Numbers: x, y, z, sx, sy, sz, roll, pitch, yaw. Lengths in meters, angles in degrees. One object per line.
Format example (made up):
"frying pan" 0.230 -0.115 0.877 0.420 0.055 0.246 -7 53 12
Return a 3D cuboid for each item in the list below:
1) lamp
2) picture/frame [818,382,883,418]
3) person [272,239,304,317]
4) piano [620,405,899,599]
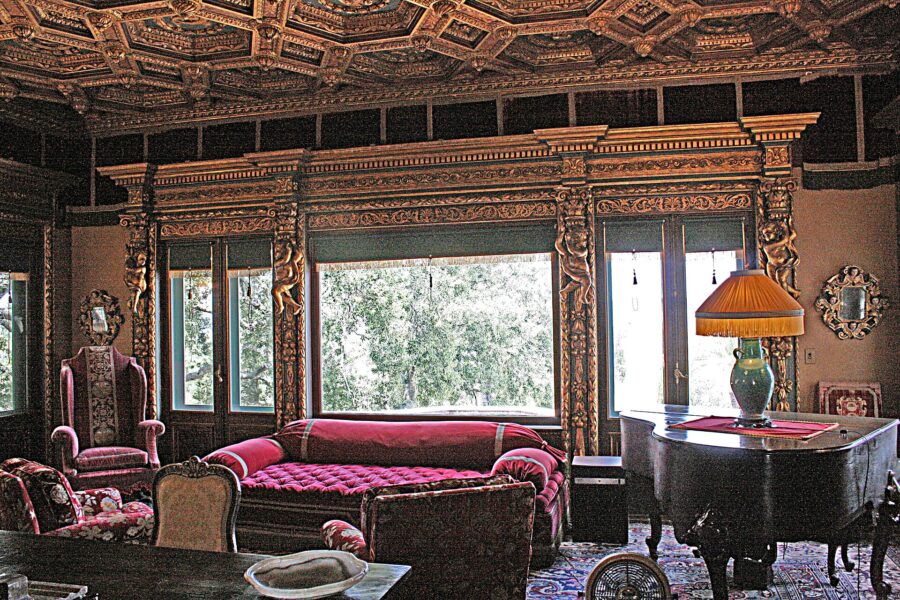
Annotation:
"lamp" 2.527 0.391 8.131 0.851 1.329 0.334 -1 -5 13
"picture/frame" 3.997 0.987 9.559 0.364 0.320 0.045 -3 -4 7
"person" -1.736 -0.237 10.493 0.302 0.779 0.126 0 -5 -6
"piano" 2.597 1.678 7.943 2.186 1.478 1.311 -1 -5 10
